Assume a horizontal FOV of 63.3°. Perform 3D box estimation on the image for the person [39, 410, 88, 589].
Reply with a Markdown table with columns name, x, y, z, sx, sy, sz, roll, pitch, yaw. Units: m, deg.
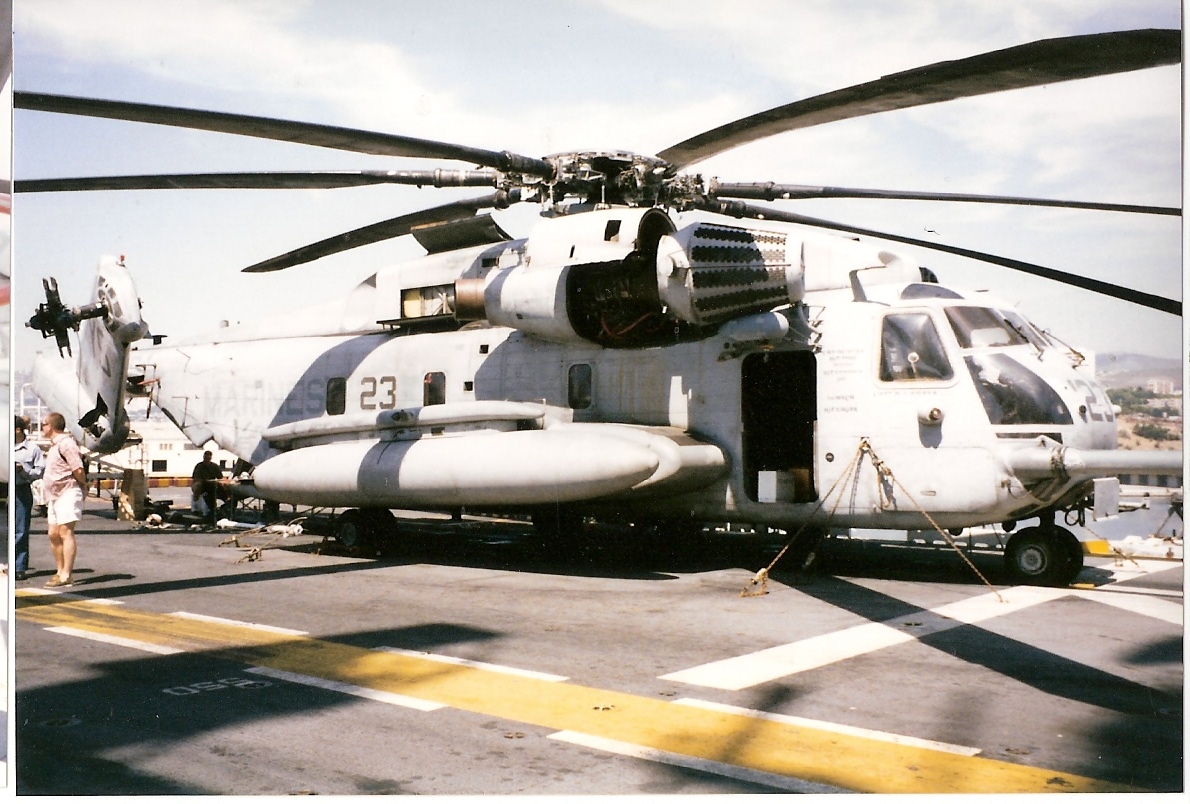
| name | x | y | z | sx | sy | sz | roll | pitch | yaw |
| --- | --- | --- | --- | --- | --- | --- | --- | --- | --- |
| person | -7.499 | 1.339 | 13.565 | 0.510 | 2.373 | 0.862 | -1 | 1 | -28 |

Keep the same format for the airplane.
| name | x | y | z | sx | sy | sz | roll | pitch | yaw |
| --- | --- | --- | --- | --- | --- | --- | --- | --- | --- |
| airplane | -0.119 | -0.592 | 14.222 | 10.762 | 3.122 | 9.086 | 0 | 3 | 27 |

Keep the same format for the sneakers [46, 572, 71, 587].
| name | x | y | z | sx | sy | sz | roll | pitch | yaw |
| --- | --- | --- | --- | --- | --- | --- | --- | --- | --- |
| sneakers | -7.480 | 2.470 | 13.416 | 0.166 | 0.109 | 0.303 | -6 | -11 | 30 |
